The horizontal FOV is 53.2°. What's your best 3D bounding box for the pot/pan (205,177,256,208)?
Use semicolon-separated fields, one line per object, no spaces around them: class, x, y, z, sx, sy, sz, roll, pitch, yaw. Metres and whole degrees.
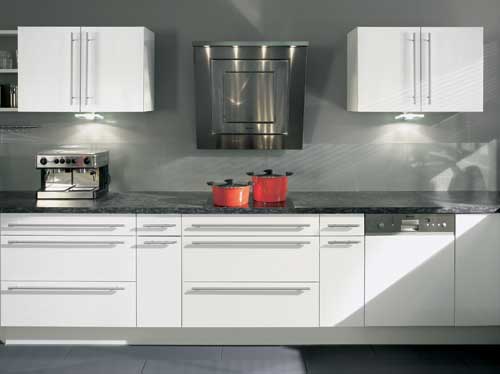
pot/pan;-0.152;0.024;4.205;0.371;0.194;0.359;-10;15;-43

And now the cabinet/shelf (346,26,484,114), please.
cabinet/shelf;1.378;-1.000;4.472;1.189;0.674;0.574;-3;3;-15

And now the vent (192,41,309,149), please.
vent;0.087;-0.786;4.558;1.018;0.835;0.595;4;12;19

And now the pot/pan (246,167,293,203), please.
pot/pan;0.161;-0.026;4.276;0.422;0.269;0.305;0;9;3
